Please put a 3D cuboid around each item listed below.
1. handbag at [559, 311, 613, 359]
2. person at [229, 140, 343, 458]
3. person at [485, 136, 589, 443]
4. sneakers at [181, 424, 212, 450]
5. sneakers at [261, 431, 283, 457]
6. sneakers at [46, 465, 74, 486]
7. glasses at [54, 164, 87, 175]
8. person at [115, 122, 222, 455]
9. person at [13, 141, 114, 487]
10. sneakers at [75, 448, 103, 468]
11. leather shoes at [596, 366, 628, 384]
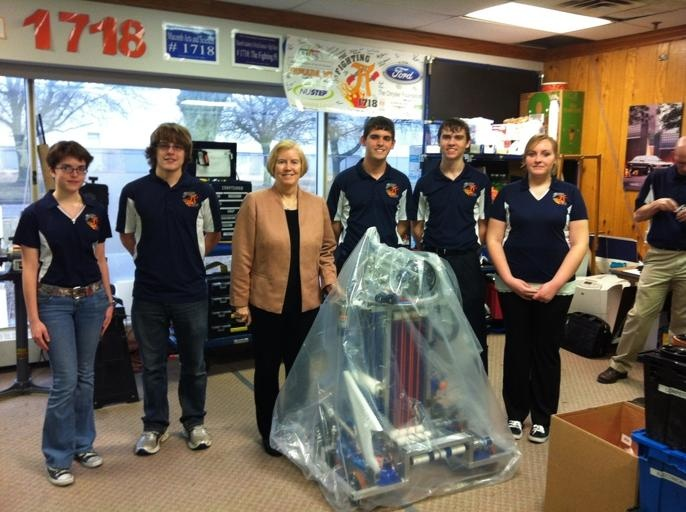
[{"bbox_3d":[2.236,0.734,4.782,0.466,0.424,0.250,20,19,42],"label":"handbag"},{"bbox_3d":[-0.340,0.272,3.213,0.650,1.901,0.336,-10,16,-39],"label":"person"},{"bbox_3d":[1.263,0.209,3.439,0.516,1.950,0.514,-6,14,-26],"label":"person"},{"bbox_3d":[-0.919,1.164,3.361,0.099,0.093,0.210,0,0,-26],"label":"sneakers"},{"bbox_3d":[-0.448,1.190,3.301,0.074,0.085,0.215,0,0,-25],"label":"sneakers"},{"bbox_3d":[-1.579,1.232,2.957,0.188,0.087,0.071,3,1,36],"label":"sneakers"},{"bbox_3d":[-1.506,-0.476,2.908,0.150,0.060,0.058,-6,13,-30],"label":"glasses"},{"bbox_3d":[-1.039,0.215,3.239,0.604,2.010,0.396,-5,13,-21],"label":"person"},{"bbox_3d":[-1.526,0.319,2.992,0.388,1.900,0.518,12,17,44],"label":"person"},{"bbox_3d":[-1.500,1.211,3.106,0.200,0.074,0.075,1,1,42],"label":"sneakers"},{"bbox_3d":[2.267,1.003,4.402,0.287,0.128,0.111,-1,2,-12],"label":"leather shoes"}]
